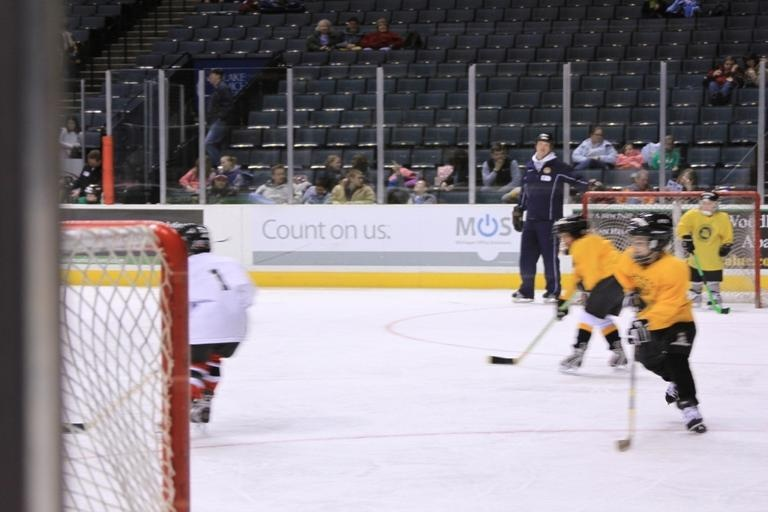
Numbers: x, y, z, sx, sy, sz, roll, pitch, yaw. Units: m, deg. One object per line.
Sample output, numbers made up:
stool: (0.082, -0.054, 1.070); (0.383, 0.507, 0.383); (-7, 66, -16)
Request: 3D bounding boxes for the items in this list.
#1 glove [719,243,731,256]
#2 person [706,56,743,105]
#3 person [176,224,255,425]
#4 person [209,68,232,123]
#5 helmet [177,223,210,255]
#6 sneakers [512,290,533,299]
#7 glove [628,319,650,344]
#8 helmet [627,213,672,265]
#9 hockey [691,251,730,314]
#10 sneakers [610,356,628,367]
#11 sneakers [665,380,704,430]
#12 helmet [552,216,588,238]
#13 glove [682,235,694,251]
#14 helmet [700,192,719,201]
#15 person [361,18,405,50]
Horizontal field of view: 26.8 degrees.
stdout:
glove: (4.075, -0.079, 19.179); (0.114, 0.133, 0.095); (27, -12, 1)
person: (4.385, -2.245, 20.704); (0.460, 0.628, 0.312); (2, 5, 8)
person: (-1.611, 0.645, 15.189); (0.666, 1.880, 0.448); (-1, 5, -30)
person: (-2.115, -2.099, 21.150); (0.312, 0.675, 0.150); (1, 5, -5)
helmet: (-1.745, -0.161, 15.149); (0.326, 0.273, 0.343); (1, 1, 25)
sneakers: (1.749, 0.490, 20.130); (0.278, 0.089, 0.098); (-2, 3, 8)
glove: (2.421, 0.719, 15.154); (0.196, 0.241, 0.093); (2, 5, 6)
helmet: (2.540, -0.169, 15.454); (0.589, 0.504, 0.445); (3, -1, 2)
hockey: (3.940, 0.358, 19.273); (0.295, 0.879, 0.183); (-15, -22, 23)
sneakers: (2.437, 1.094, 16.616); (0.156, 0.102, 0.113); (-1, 8, -18)
sneakers: (2.856, 1.432, 15.224); (0.211, 0.542, 0.286); (-32, -10, 19)
helmet: (1.960, -0.307, 16.670); (0.327, 0.244, 0.225); (19, 5, 9)
glove: (3.632, -0.153, 19.123); (0.140, 0.174, 0.079); (1, -16, 16)
helmet: (3.923, -0.699, 19.197); (0.216, 0.109, 0.160); (0, 4, -20)
person: (0.020, -3.342, 24.259); (0.854, 0.589, 0.411); (1, -24, 0)
